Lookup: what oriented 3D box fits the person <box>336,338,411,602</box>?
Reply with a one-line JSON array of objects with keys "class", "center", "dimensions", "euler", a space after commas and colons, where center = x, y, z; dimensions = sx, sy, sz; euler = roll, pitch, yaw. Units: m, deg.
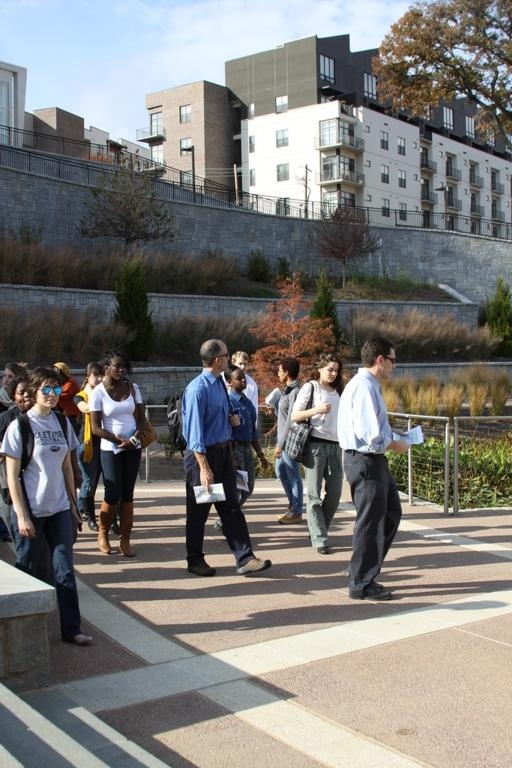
[{"class": "person", "center": [0.740, 0.555, 5.631], "dimensions": [0.460, 1.707, 0.421], "euler": [-1, 3, 25]}]

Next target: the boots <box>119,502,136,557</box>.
[{"class": "boots", "center": [-1.018, 1.136, 6.739], "dimensions": [0.105, 0.429, 0.228], "euler": [-2, 3, -9]}]

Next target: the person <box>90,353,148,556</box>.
[{"class": "person", "center": [-1.081, 0.564, 6.786], "dimensions": [0.435, 1.569, 0.489], "euler": [-2, 3, -11]}]

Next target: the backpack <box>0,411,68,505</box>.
[{"class": "backpack", "center": [-1.196, 0.438, 4.840], "dimensions": [0.208, 0.571, 0.445], "euler": [0, 3, 35]}]

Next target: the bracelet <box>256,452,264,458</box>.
[{"class": "bracelet", "center": [0.047, 0.664, 7.904], "dimensions": [0.044, 0.045, 0.046], "euler": [-1, -4, -9]}]

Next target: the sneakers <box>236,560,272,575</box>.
[{"class": "sneakers", "center": [-0.022, 1.285, 5.993], "dimensions": [0.185, 0.088, 0.065], "euler": [-18, 24, 13]}]

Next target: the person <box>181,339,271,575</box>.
[{"class": "person", "center": [-0.225, 0.539, 6.118], "dimensions": [0.575, 1.694, 0.646], "euler": [-2, 3, -8]}]

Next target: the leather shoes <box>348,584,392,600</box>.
[{"class": "leather shoes", "center": [0.734, 1.357, 5.546], "dimensions": [0.270, 0.136, 0.105], "euler": [-1, 2, 2]}]

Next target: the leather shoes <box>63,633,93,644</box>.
[{"class": "leather shoes", "center": [-0.960, 1.372, 4.662], "dimensions": [0.156, 0.071, 0.059], "euler": [1, 1, 17]}]

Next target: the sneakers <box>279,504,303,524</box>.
[{"class": "sneakers", "center": [0.332, 1.262, 8.154], "dimensions": [0.117, 0.127, 0.257], "euler": [-5, -9, 39]}]

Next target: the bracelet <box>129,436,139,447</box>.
[{"class": "bracelet", "center": [-0.938, 0.450, 6.619], "dimensions": [0.041, 0.077, 0.057], "euler": [-1, 6, -43]}]

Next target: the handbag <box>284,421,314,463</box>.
[{"class": "handbag", "center": [0.309, 0.466, 6.832], "dimensions": [0.143, 0.328, 0.280], "euler": [-3, 3, -30]}]

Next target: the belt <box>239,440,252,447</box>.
[{"class": "belt", "center": [-0.101, 0.520, 7.423], "dimensions": [0.064, 0.048, 0.064], "euler": [1, 1, -26]}]
